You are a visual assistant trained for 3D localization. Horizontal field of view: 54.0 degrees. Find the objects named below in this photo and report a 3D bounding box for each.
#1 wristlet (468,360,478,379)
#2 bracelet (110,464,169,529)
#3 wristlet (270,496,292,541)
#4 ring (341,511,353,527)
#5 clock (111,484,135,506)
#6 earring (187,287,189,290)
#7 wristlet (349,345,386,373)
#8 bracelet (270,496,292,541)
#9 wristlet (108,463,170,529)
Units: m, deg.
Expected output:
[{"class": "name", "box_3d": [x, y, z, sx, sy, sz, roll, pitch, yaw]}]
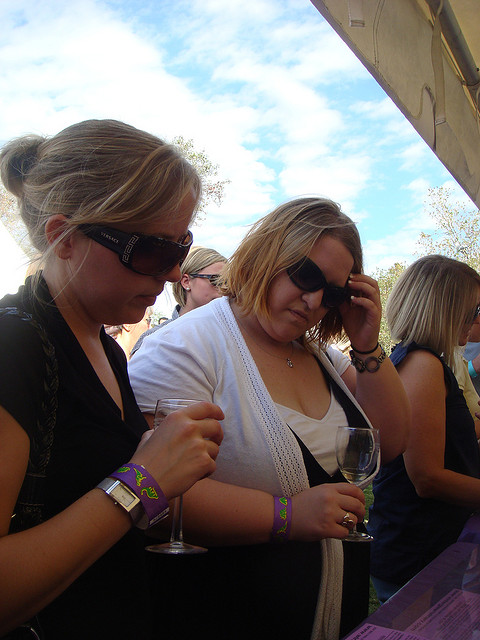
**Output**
[{"class": "wristlet", "box_3d": [2.284, 0.482, 4.632, 0.090, 0.192, 0.207, 5, 20, 26]}, {"class": "bracelet", "box_3d": [-0.167, 0.326, 0.920, 0.147, 0.104, 0.194, 0, 2, -2]}, {"class": "wristlet", "box_3d": [0.115, 0.548, 1.303, 0.038, 0.090, 0.089, 3, 10, -1]}, {"class": "ring", "box_3d": [0.295, 0.555, 1.312, 0.019, 0.035, 0.034, 9, -8, 20]}, {"class": "clock", "box_3d": [-0.215, 0.324, 0.866, 0.029, 0.028, 0.020, 6, 22, 30]}, {"class": "earring", "box_3d": [-0.430, -0.257, 3.877, 0.024, 0.021, 0.021, -3, -7, 12]}, {"class": "wristlet", "box_3d": [0.538, 0.162, 1.973, 0.117, 0.091, 0.044, 17, -21, 12]}, {"class": "bracelet", "box_3d": [0.113, 0.551, 1.301, 0.042, 0.090, 0.086, 1, 5, 0]}, {"class": "wristlet", "box_3d": [-0.192, 0.332, 0.887, 0.107, 0.101, 0.062, 1, 38, 40]}]
